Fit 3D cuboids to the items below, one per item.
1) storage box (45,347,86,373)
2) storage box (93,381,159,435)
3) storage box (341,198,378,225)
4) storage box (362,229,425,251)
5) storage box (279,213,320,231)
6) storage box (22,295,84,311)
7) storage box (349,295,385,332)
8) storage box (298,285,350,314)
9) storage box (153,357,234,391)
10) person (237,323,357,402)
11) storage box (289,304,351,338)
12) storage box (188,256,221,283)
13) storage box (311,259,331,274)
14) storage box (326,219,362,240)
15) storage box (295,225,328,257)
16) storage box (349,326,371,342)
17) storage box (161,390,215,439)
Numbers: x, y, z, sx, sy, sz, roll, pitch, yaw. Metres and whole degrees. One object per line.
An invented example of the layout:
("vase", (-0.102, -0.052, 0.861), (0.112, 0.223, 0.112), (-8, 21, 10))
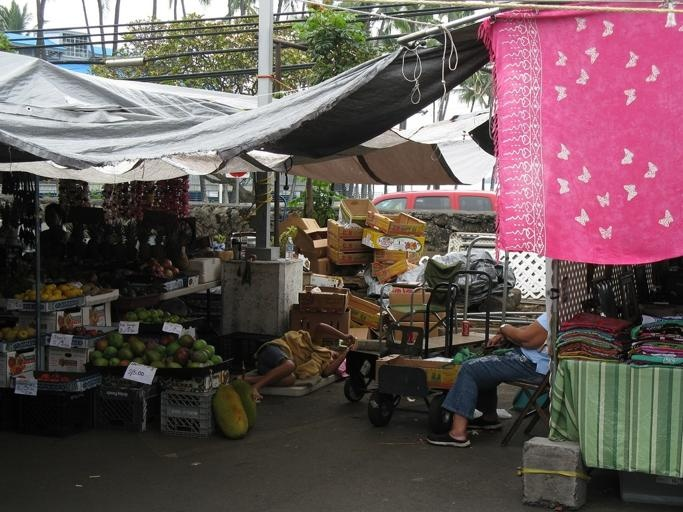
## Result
("storage box", (-2.687, 1.021, 6.785), (0.289, 0.180, 0.292), (1, 0, 20))
("storage box", (-2.051, 1.406, 6.706), (0.522, 0.458, 0.534), (1, 2, 15))
("storage box", (0.270, -0.831, 12.858), (0.623, 0.438, 0.464), (1, 1, -6))
("storage box", (0.929, -0.239, 12.560), (0.691, 0.244, 0.499), (3, 6, -22))
("storage box", (-0.820, -0.592, 13.126), (0.455, 0.258, 0.467), (1, 3, 25))
("storage box", (-2.886, 0.481, 7.086), (0.211, 0.143, 0.707), (5, 8, 31))
("storage box", (0.341, 0.814, 10.055), (0.557, 0.323, 0.185), (20, 12, 15))
("storage box", (-0.224, 0.567, 9.305), (0.620, 0.275, 0.657), (0, 7, 2))
("storage box", (-1.366, 1.124, 6.468), (0.656, 0.242, 0.327), (-2, 8, -16))
("person", (-0.484, 1.172, 8.056), (0.671, 0.637, 1.656), (6, 9, 39))
("storage box", (-0.319, 0.831, 8.793), (0.660, 0.368, 0.509), (2, 7, 7))
("storage box", (-1.933, 0.187, 9.846), (0.298, 0.351, 0.512), (0, 1, 19))
("storage box", (-0.363, 0.191, 12.872), (0.235, 0.405, 0.445), (-2, -1, 32))
("storage box", (0.071, -0.456, 12.827), (0.642, 0.340, 0.338), (0, 7, -2))
("storage box", (-0.589, -0.199, 12.935), (0.574, 0.369, 0.514), (-5, 24, -42))
("storage box", (0.251, 1.079, 9.535), (0.200, 0.123, 0.203), (-1, -4, 21))
("storage box", (-1.413, 1.422, 6.534), (0.497, 0.438, 0.441), (1, 1, 13))
